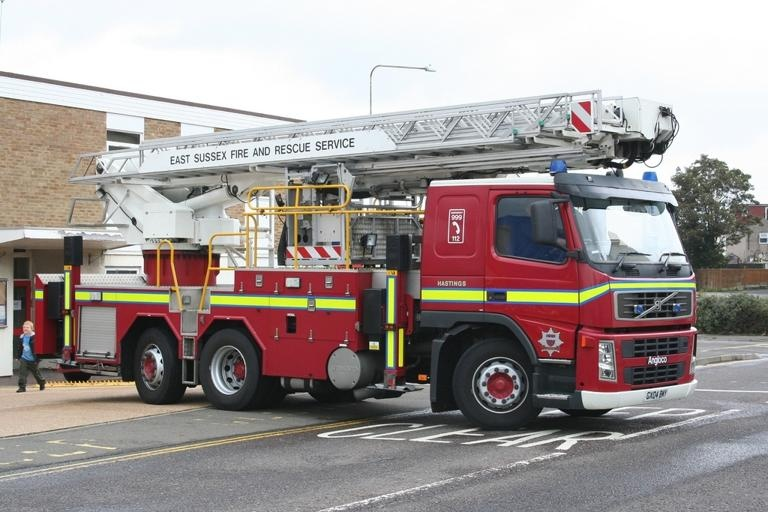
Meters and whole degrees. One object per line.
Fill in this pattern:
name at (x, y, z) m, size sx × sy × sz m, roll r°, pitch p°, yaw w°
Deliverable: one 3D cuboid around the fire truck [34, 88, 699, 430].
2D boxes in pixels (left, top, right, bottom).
fire truck at (-1.063, 0.045, 16.453) m, size 13.257 × 5.178 × 4.128 m, roll -1°, pitch 2°, yaw 35°
